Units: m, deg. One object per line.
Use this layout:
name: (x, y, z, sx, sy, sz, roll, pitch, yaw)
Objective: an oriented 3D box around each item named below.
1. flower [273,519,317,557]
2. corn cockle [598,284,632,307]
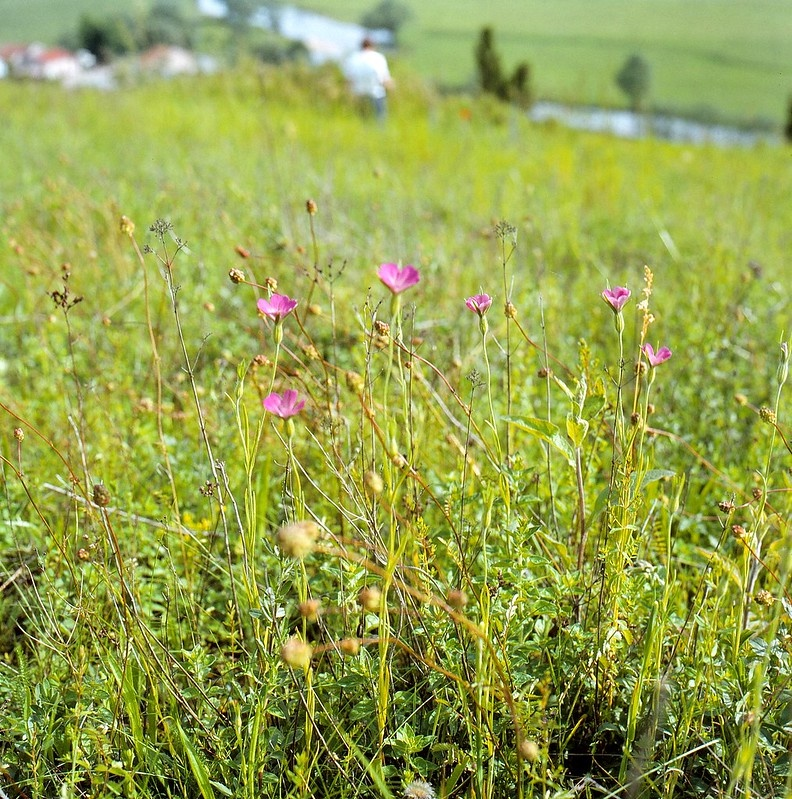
flower: (-0.175, 0.252, 2.049, 0.054, 0.051, 0.074, -13, -5, -12)
corn cockle: (0.492, -0.226, 2.474, 0.047, 0.046, 0.053, 0, 7, 0)
